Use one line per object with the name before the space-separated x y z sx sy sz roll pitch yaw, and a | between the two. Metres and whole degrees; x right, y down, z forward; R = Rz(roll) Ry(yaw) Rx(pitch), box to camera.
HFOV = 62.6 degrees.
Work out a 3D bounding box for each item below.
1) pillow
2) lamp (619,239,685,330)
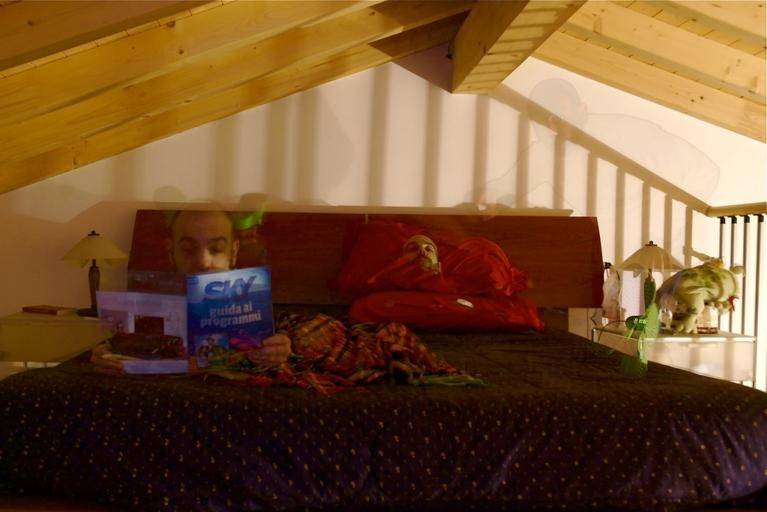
pillow | 0.261 0.141 3.088 0.700 0.618 0.233 3 -52 -5
lamp | 1.515 0.137 3.540 0.358 0.423 0.346 -4 5 -20
